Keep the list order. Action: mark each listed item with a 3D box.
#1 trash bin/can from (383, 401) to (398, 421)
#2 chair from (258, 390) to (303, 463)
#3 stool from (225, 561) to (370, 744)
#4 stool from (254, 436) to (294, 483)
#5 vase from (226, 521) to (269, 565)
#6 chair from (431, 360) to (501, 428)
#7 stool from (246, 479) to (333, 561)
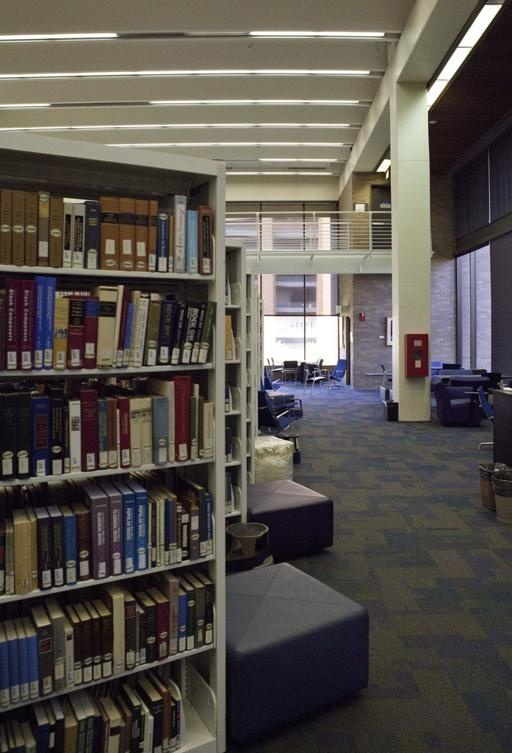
[{"bbox_3d":[2.290,0.580,10.238,0.218,0.327,0.213,-2,2,11],"label":"trash bin/can"},{"bbox_3d":[0.326,0.609,8.003,0.678,0.966,0.797,0,5,-4],"label":"chair"},{"bbox_3d":[0.076,1.072,2.431,0.419,0.303,0.428,-5,4,-28],"label":"stool"},{"bbox_3d":[0.159,0.780,5.768,0.331,0.368,0.354,0,7,0],"label":"stool"},{"bbox_3d":[-0.053,0.972,3.509,0.251,0.197,0.272,0,-2,5],"label":"vase"},{"bbox_3d":[3.418,0.274,9.887,1.146,1.149,0.974,-2,5,-6],"label":"chair"},{"bbox_3d":[0.227,0.932,4.079,0.396,0.286,0.420,-3,9,-13],"label":"stool"}]
